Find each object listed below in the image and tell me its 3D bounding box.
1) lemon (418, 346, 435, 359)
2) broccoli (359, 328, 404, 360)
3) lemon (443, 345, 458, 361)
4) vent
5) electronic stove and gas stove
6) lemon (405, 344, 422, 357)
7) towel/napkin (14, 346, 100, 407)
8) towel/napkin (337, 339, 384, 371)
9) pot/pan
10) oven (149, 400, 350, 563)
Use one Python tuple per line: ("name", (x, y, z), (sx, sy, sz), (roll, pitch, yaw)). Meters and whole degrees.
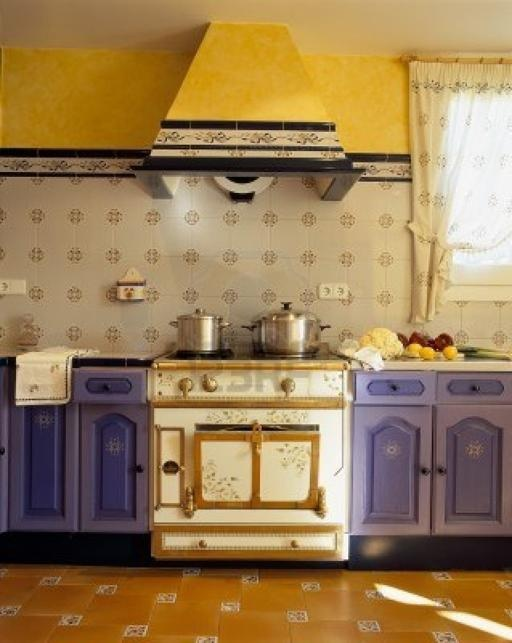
("lemon", (0.753, 0.143, 3.183), (0.059, 0.050, 0.059), (-14, -12, 35))
("broccoli", (0.558, 0.101, 3.160), (0.133, 0.062, 0.170), (10, 8, 8))
("lemon", (0.859, 0.136, 3.164), (0.065, 0.062, 0.060), (-7, -6, 24))
("vent", (-0.041, -0.987, 3.192), (0.970, 0.747, 0.250), (0, -5, -3))
("electronic stove and gas stove", (-0.024, 0.218, 3.236), (0.816, 0.170, 0.426), (1, 3, 0))
("lemon", (0.707, 0.133, 3.235), (0.068, 0.068, 0.061), (3, -16, 0))
("towel/napkin", (-0.884, 0.239, 3.152), (0.328, 0.256, 0.263), (0, -5, -11))
("towel/napkin", (0.452, 0.148, 3.069), (0.167, 0.051, 0.116), (21, -4, -13))
("pot/pan", (-0.049, 0.090, 3.420), (0.625, 0.347, 0.394), (0, 0, -3))
("oven", (0.006, 0.630, 3.376), (0.841, 0.749, 0.544), (0, 0, 1))
